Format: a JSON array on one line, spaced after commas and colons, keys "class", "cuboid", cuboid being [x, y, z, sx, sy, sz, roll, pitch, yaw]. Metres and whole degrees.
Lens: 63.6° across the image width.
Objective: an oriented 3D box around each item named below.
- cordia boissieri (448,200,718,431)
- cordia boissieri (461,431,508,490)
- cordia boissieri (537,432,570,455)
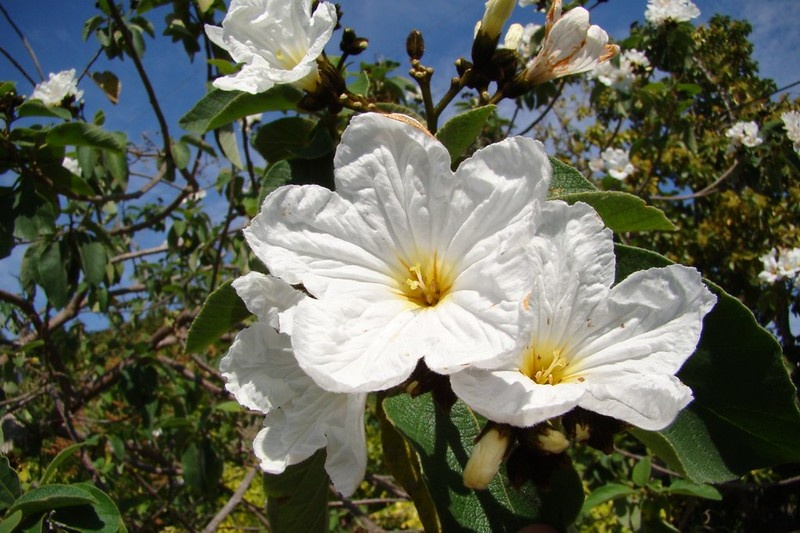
[{"class": "cordia boissieri", "cuboid": [0.837, 0.338, 2.807, 0.889, 0.272, 1.034, 30, 81, 7]}, {"class": "cordia boissieri", "cuboid": [0.375, 0.861, 2.885, 0.153, 0.100, 0.281, 24, 79, 5]}, {"class": "cordia boissieri", "cuboid": [0.673, 0.770, 2.835, 0.148, 0.069, 0.101, 12, 79, 4]}]
